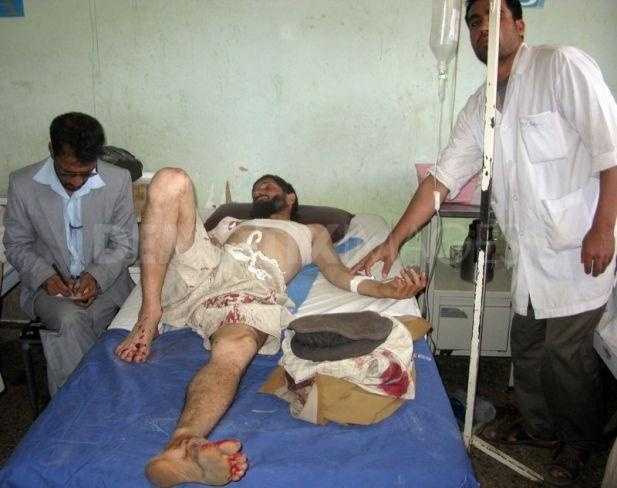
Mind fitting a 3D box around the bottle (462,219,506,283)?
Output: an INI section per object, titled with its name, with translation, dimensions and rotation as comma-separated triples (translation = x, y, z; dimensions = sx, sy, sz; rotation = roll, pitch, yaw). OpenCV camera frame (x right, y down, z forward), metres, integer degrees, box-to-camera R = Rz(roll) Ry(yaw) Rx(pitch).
[bottle]
translation = 0.692, 0.029, 2.137
dimensions = 0.171, 0.323, 0.185
rotation = -2, 20, 1
